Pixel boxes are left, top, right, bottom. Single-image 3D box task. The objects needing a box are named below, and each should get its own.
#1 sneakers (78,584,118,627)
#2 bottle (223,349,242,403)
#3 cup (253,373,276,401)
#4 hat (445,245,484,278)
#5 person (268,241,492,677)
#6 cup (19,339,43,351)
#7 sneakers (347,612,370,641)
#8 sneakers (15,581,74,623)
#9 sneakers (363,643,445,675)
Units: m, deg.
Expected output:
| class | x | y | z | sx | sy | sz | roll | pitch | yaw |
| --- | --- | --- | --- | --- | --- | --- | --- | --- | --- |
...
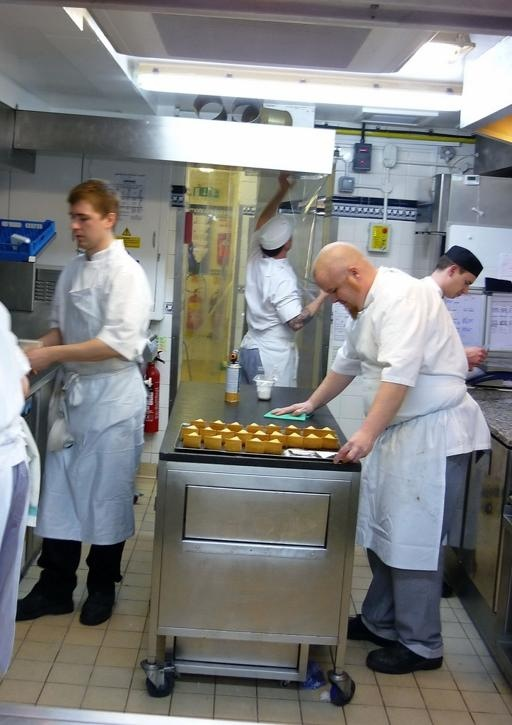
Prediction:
| class | x | y | z | sx | sy | sz | roll | pitch | yaw |
| --- | --- | --- | --- | --- | --- | --- | --- | --- | --- |
| sneakers | -0.609 | 0.941 | 2.187 | 0.081 | 0.058 | 0.151 | 1 | 0 | 0 |
| bottle | -0.092 | 0.063 | 2.323 | 0.060 | 0.134 | 0.103 | 5 | 3 | -2 |
| cup | 0.029 | 0.114 | 2.443 | 0.099 | 0.098 | 0.095 | 0 | 1 | 0 |
| hat | 0.888 | -0.421 | 2.474 | 0.155 | 0.085 | 0.109 | 39 | 2 | 6 |
| person | 0.419 | 0.351 | 1.932 | 0.380 | 1.188 | 0.750 | 8 | 4 | 44 |
| cup | -0.823 | -0.072 | 2.128 | 0.078 | 0.038 | 0.072 | 1 | -22 | 0 |
| sneakers | 0.393 | 1.036 | 2.253 | 0.075 | 0.082 | 0.217 | -4 | -21 | 21 |
| sneakers | -0.807 | 0.935 | 2.201 | 0.216 | 0.090 | 0.097 | 5 | -7 | -19 |
| sneakers | 0.542 | 1.043 | 2.058 | 0.291 | 0.115 | 0.104 | 4 | -5 | -4 |
